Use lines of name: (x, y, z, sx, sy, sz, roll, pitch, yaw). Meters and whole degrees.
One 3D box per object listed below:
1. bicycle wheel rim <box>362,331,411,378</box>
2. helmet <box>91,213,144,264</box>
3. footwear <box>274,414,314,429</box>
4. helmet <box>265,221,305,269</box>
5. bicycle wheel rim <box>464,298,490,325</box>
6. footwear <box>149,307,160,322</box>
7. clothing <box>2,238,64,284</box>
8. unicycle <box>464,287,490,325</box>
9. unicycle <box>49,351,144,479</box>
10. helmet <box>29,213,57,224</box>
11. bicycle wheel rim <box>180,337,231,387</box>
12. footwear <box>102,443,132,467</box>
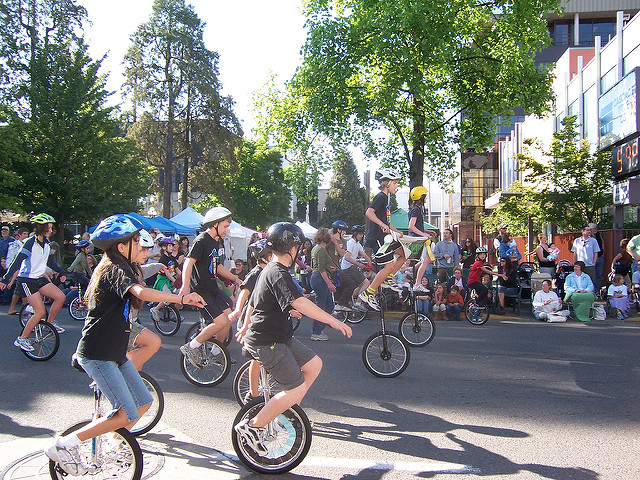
bicycle wheel rim: (1.060, 1.869, 10.530, 0.697, 0.733, 0.185, 1, 6, -2)
helmet: (-2.242, -0.056, 7.226, 0.468, 0.328, 0.400, -6, 7, -15)
footwear: (-0.316, 2.040, 7.350, 0.392, 0.096, 0.366, 9, 4, -43)
helmet: (-0.397, 0.033, 7.571, 0.497, 0.593, 0.435, -7, 12, -32)
bicycle wheel rim: (3.685, 1.723, 15.583, 0.557, 0.578, 0.558, 38, -20, -27)
footwear: (-3.529, 1.590, 13.984, 0.152, 0.344, 0.135, -19, -1, 4)
clothing: (-5.925, 0.435, 13.325, 0.534, 0.802, 1.205, -10, -9, 36)
unicycle: (3.789, 1.628, 15.739, 0.558, 0.776, 0.370, -28, -15, 30)
unicycle: (-2.407, 1.896, 6.986, 0.912, 1.238, 0.610, 3, -3, -16)
helmet: (-5.050, -0.355, 11.745, 0.479, 0.217, 0.352, -5, -1, 11)
bicycle wheel rim: (-1.738, 1.870, 9.909, 0.600, 0.624, 0.175, 15, 11, 0)
footwear: (-2.163, 2.275, 6.964, 0.259, 0.061, 0.248, 22, 23, -11)
